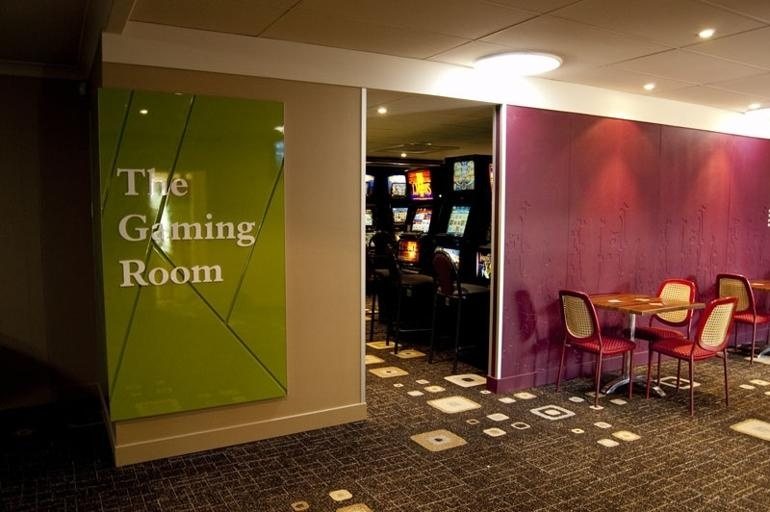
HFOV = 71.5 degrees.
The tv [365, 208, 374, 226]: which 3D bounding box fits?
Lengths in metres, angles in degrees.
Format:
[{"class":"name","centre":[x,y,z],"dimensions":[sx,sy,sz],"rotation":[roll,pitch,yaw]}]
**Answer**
[{"class":"tv","centre":[-0.350,-0.946,13.057],"dimensions":[0.158,0.394,0.178],"rotation":[1,11,6]}]

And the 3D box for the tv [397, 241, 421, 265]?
[{"class":"tv","centre":[0.441,-0.044,9.504],"dimensions":[0.223,0.390,0.406],"rotation":[6,-1,-38]}]

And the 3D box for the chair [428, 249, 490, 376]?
[{"class":"chair","centre":[0.934,0.667,7.629],"dimensions":[0.905,1.624,0.947],"rotation":[-10,15,-43]}]

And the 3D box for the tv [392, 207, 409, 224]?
[{"class":"tv","centre":[0.335,-0.928,12.152],"dimensions":[0.304,0.371,0.556],"rotation":[0,11,-4]}]

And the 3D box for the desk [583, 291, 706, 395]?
[{"class":"desk","centre":[3.026,1.054,6.771],"dimensions":[1.320,1.207,1.299],"rotation":[-4,9,-16]}]

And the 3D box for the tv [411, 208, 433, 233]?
[{"class":"tv","centre":[0.712,-0.663,10.069],"dimensions":[0.194,0.506,0.527],"rotation":[6,0,-25]}]

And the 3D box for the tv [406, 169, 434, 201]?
[{"class":"tv","centre":[0.742,-1.466,10.905],"dimensions":[0.105,0.765,0.726],"rotation":[-24,7,-29]}]

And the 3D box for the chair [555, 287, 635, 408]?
[{"class":"chair","centre":[2.492,1.027,6.354],"dimensions":[0.785,1.207,0.731],"rotation":[-4,7,-22]}]

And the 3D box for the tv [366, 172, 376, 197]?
[{"class":"tv","centre":[-0.350,-1.756,13.236],"dimensions":[0.126,0.533,0.303],"rotation":[10,15,41]}]

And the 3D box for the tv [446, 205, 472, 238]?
[{"class":"tv","centre":[1.186,-0.536,8.472],"dimensions":[0.058,0.528,0.525],"rotation":[17,-3,-23]}]

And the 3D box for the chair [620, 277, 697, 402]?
[{"class":"chair","centre":[3.717,1.015,6.830],"dimensions":[0.666,1.192,0.814],"rotation":[9,19,-8]}]

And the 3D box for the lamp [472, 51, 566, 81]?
[{"class":"lamp","centre":[1.466,-2.137,5.931],"dimensions":[0.959,0.155,0.626],"rotation":[3,11,15]}]

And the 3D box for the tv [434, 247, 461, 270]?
[{"class":"tv","centre":[0.890,0.048,7.567],"dimensions":[0.351,0.252,0.049],"rotation":[-1,-6,31]}]

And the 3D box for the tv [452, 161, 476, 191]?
[{"class":"tv","centre":[1.281,-1.295,8.574],"dimensions":[0.077,0.519,0.545],"rotation":[-3,2,-28]}]

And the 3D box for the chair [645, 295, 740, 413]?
[{"class":"chair","centre":[3.691,1.053,6.342],"dimensions":[1.328,1.353,0.783],"rotation":[-10,15,-43]}]
